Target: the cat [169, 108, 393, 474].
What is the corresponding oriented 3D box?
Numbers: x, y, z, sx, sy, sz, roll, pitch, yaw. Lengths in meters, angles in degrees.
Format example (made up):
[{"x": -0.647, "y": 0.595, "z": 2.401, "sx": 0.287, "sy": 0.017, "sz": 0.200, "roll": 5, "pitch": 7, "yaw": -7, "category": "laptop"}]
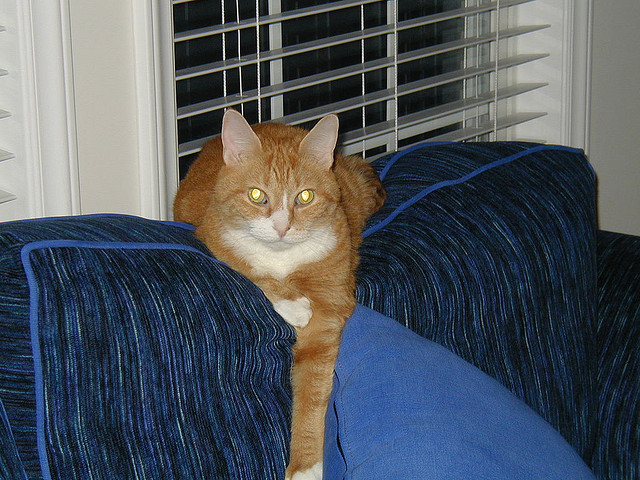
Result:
[{"x": -0.071, "y": 0.064, "z": 1.837, "sx": 0.521, "sy": 0.820, "sz": 0.441, "roll": 4, "pitch": -45, "yaw": -7, "category": "cat"}]
